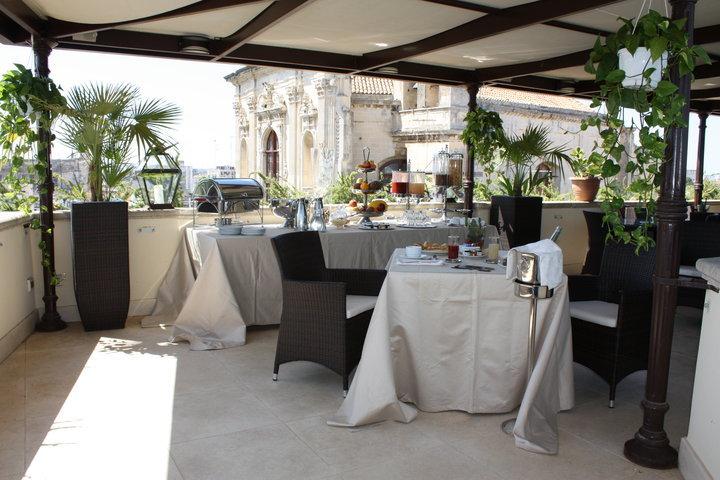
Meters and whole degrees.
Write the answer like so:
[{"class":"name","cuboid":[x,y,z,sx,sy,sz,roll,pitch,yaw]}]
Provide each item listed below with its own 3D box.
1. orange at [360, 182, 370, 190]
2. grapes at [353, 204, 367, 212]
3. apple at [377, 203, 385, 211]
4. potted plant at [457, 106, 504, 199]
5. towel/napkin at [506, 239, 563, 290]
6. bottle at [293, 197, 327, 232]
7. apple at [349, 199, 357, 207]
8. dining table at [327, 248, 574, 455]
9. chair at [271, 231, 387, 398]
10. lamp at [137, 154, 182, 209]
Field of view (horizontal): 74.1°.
[{"class":"orange","cuboid":[0.056,-0.596,5.167,0.080,0.100,0.082,8,9,-2]},{"class":"grapes","cuboid":[0.003,-0.371,5.524,0.104,0.064,0.232,-6,14,-25]},{"class":"apple","cuboid":[0.242,-0.377,5.454,0.061,0.082,0.080,-2,-16,45]},{"class":"potted plant","cuboid":[1.730,-1.476,6.730,0.594,0.768,0.255,-2,13,-9]},{"class":"towel/napkin","cuboid":[1.107,0.134,3.038,0.307,0.317,0.316,9,15,43]},{"class":"bottle","cuboid":[-0.539,-0.268,5.074,0.471,0.455,0.199,0,-2,-13]},{"class":"apple","cuboid":[-0.075,-0.443,5.676,0.094,0.054,0.097,0,13,-2]},{"class":"dining table","cuboid":[0.715,0.685,3.258,1.171,0.660,1.294,2,6,10]},{"class":"chair","cuboid":[-0.217,0.462,4.232,1.054,1.580,1.028,6,10,26]},{"class":"lamp","cuboid":[-2.207,-0.657,5.308,0.505,0.766,0.501,-2,10,-28]}]
